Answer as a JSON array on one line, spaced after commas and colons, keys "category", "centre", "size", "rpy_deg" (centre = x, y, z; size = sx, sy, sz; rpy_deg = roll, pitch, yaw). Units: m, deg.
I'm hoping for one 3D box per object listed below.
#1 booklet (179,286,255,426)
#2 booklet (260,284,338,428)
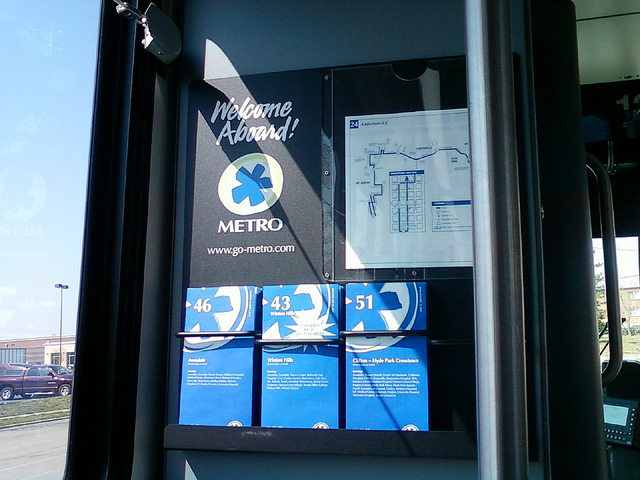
[{"category": "booklet", "centre": [-0.258, 0.354, 1.943], "size": [0.284, 0.428, 0.167], "rpy_deg": [-5, -10, 31]}, {"category": "booklet", "centre": [-0.058, 0.338, 1.854], "size": [0.247, 0.412, 0.050], "rpy_deg": [-6, -4, 11]}]
